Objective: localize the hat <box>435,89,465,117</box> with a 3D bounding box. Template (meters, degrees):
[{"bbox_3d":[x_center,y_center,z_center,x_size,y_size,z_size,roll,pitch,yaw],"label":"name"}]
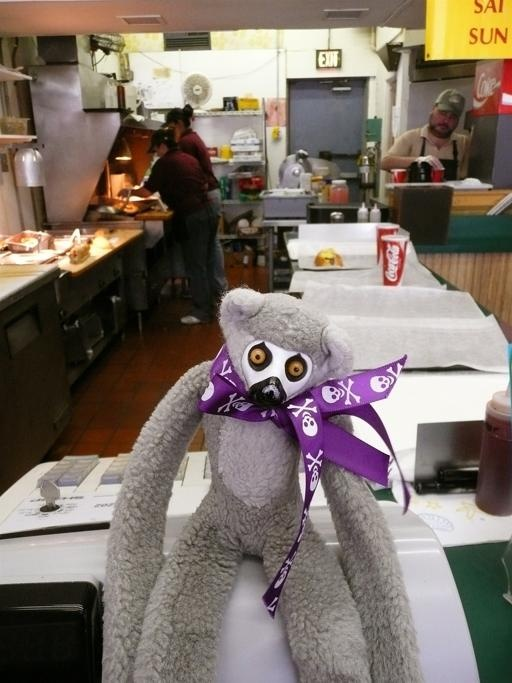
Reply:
[{"bbox_3d":[1.469,-1.812,4.007,0.165,0.123,0.222,12,45,-10],"label":"hat"}]

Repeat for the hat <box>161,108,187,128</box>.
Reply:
[{"bbox_3d":[-0.718,-1.939,4.574,0.204,0.141,0.158,-10,3,17],"label":"hat"}]

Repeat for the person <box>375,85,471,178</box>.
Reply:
[{"bbox_3d":[1.401,-1.644,4.298,0.625,0.691,0.862,8,27,18],"label":"person"}]

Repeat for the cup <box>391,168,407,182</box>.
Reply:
[{"bbox_3d":[0.747,-0.864,2.773,0.070,0.076,0.201,5,26,12],"label":"cup"}]

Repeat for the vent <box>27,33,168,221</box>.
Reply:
[{"bbox_3d":[-1.439,-1.715,4.357,0.737,1.377,0.522,-10,28,-18],"label":"vent"}]

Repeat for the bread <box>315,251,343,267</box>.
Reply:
[{"bbox_3d":[0.275,-0.311,2.007,0.065,0.057,0.097,1,4,0],"label":"bread"}]
